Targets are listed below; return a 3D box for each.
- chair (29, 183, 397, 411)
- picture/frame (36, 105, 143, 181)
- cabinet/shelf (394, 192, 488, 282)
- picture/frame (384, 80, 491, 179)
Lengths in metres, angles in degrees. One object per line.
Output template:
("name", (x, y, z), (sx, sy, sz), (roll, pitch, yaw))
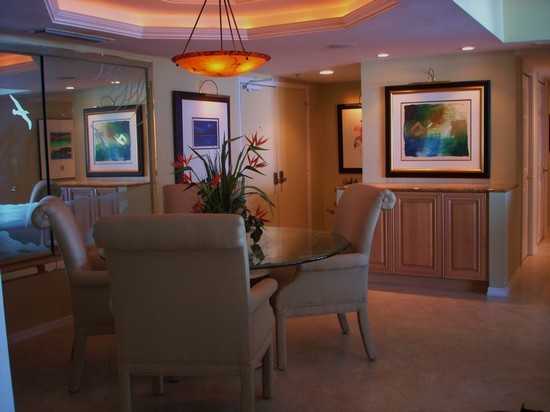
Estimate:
("chair", (-0.273, 0.504, 3.317), (2.265, 1.240, 0.807), (-3, 8, -11))
("picture/frame", (-1.825, -0.652, 4.500), (0.091, 0.754, 1.105), (5, 10, 39))
("cabinet/shelf", (1.818, 0.307, 4.785), (0.928, 0.892, 0.333), (1, 3, 27))
("picture/frame", (1.921, -0.907, 5.148), (1.136, 1.107, 0.080), (2, 7, 15))
